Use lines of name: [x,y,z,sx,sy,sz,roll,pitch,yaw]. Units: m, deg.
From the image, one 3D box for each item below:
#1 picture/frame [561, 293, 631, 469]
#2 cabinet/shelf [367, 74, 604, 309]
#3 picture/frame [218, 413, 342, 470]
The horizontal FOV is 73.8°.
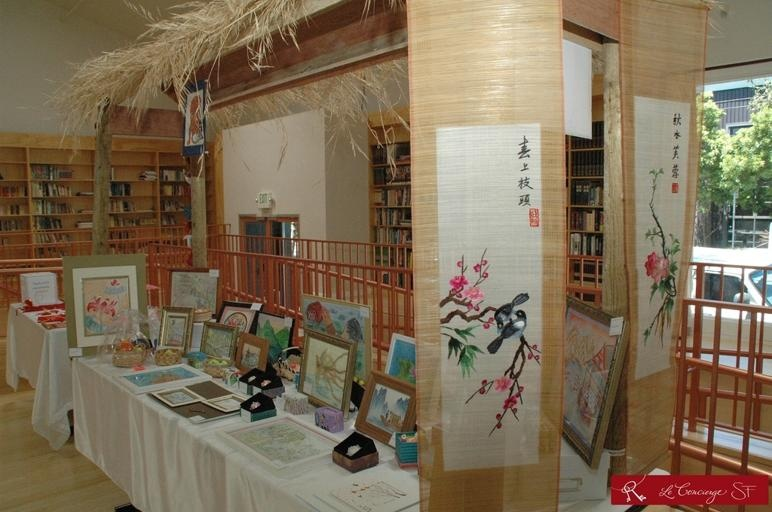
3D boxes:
picture/frame: [0.908,0.561,2.363,0.208,0.674,0.382,-3,6,-10]
cabinet/shelf: [1.345,-0.914,8.234,4.582,3.175,1.859,3,8,41]
picture/frame: [-0.539,0.940,2.621,0.551,0.079,0.342,2,8,36]
